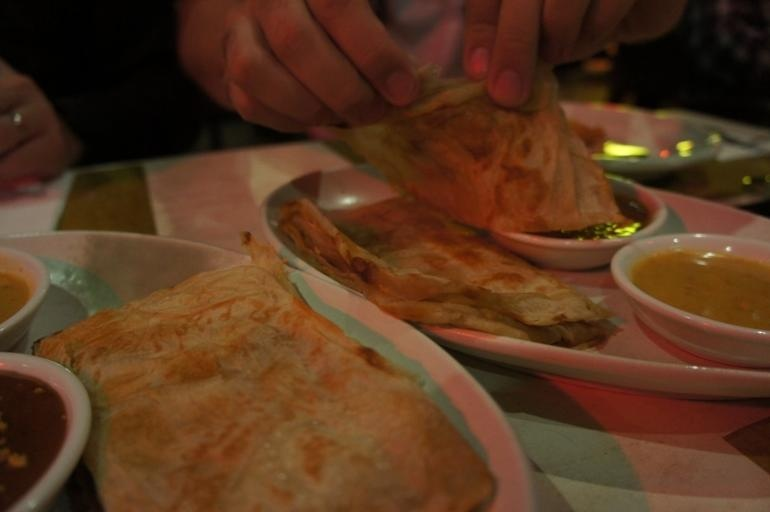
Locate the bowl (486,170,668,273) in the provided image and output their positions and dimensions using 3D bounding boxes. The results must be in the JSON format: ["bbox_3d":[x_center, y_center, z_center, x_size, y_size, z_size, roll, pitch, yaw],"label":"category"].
[{"bbox_3d":[0.349,-0.101,1.381,0.269,0.082,0.285,13,17,-4],"label":"bowl"}]

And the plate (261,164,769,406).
[{"bbox_3d":[0.225,0.087,1.227,0.692,0.082,0.510,22,38,29],"label":"plate"}]

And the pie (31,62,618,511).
[{"bbox_3d":[0.081,0.031,1.523,0.801,0.158,0.816,19,53,19],"label":"pie"}]
